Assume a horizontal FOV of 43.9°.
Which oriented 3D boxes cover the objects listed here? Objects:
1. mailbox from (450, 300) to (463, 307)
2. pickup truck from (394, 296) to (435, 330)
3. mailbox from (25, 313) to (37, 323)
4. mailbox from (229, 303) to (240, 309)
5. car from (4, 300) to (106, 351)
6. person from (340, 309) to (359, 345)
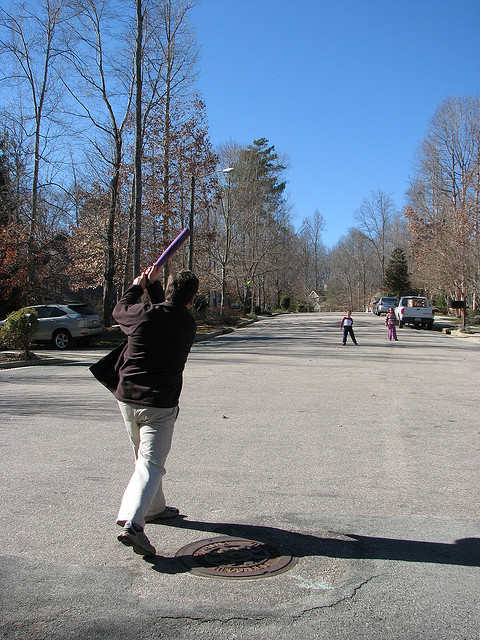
[{"bbox_3d":[13.385,-0.994,36.461,0.523,0.361,2.514,0,1,17],"label":"mailbox"},{"bbox_3d":[10.626,-0.416,35.843,1.853,1.926,1.932,0,1,6],"label":"pickup truck"},{"bbox_3d":[-5.916,-0.066,16.748,0.313,0.265,0.219,-1,1,-30],"label":"mailbox"},{"bbox_3d":[-0.494,-1.355,65.719,0.871,0.756,0.927,0,-4,18],"label":"mailbox"},{"bbox_3d":[-6.657,0.185,21.264,3.319,1.545,1.715,2,-1,5],"label":"car"},{"bbox_3d":[4.298,0.290,23.146,0.521,1.271,1.623,0,1,10],"label":"person"}]
